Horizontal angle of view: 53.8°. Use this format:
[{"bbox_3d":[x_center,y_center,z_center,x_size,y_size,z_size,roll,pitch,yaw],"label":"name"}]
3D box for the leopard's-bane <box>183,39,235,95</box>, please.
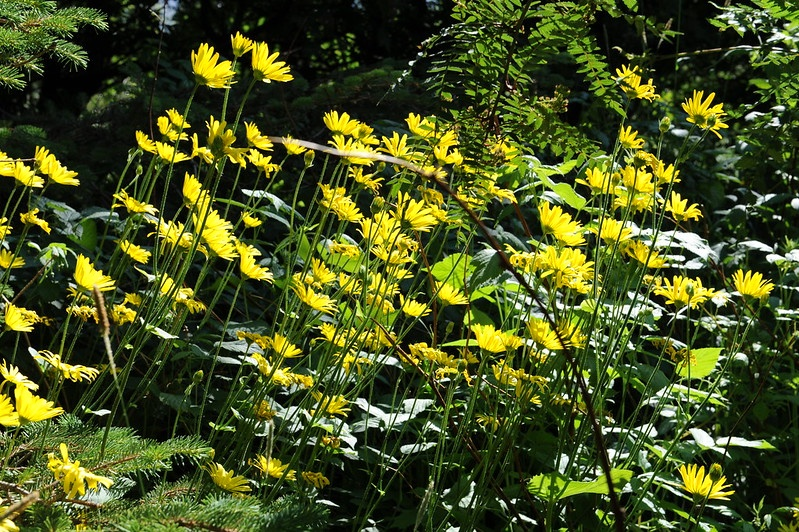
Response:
[{"bbox_3d":[-0.520,-0.506,2.070,0.117,0.067,0.117,15,-32,-22],"label":"leopard's-bane"}]
